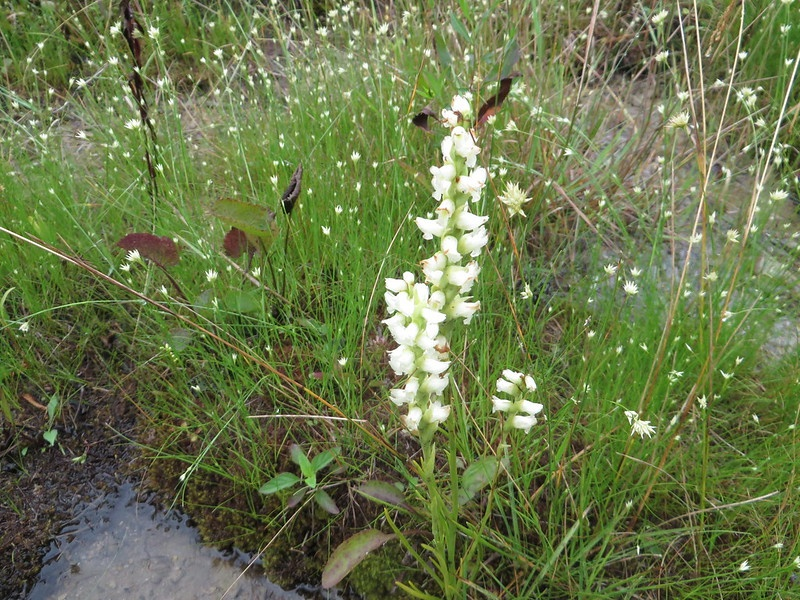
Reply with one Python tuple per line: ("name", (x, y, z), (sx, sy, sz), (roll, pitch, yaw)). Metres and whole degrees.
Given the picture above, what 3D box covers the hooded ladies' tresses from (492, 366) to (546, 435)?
("hooded ladies' tresses", (0.455, 0.446, 2.517), (0.179, 0.485, 0.230), (1, 40, 9))
